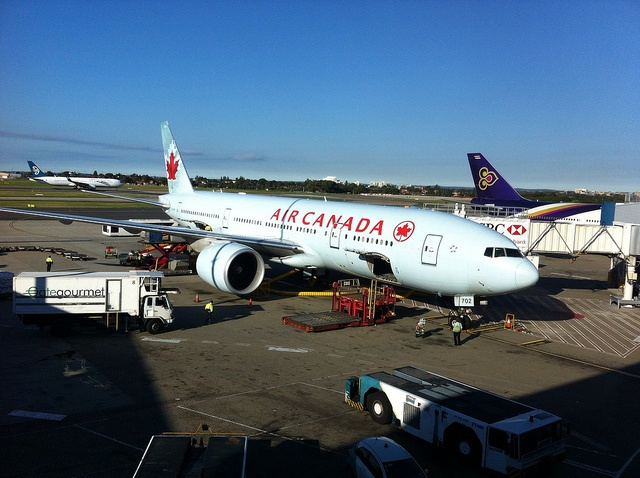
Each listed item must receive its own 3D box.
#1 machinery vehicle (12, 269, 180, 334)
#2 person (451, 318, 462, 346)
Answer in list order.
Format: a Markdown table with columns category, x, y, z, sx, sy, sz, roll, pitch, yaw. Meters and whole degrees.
| category | x | y | z | sx | sy | sz | roll | pitch | yaw |
| --- | --- | --- | --- | --- | --- | --- | --- | --- | --- |
| machinery vehicle | -10.841 | 2.862 | 25.072 | 9.006 | 2.664 | 2.981 | -1 | 4 | -10 |
| person | 6.619 | 4.451 | 24.708 | 0.464 | 1.268 | 1.289 | 9 | 8 | 17 |
